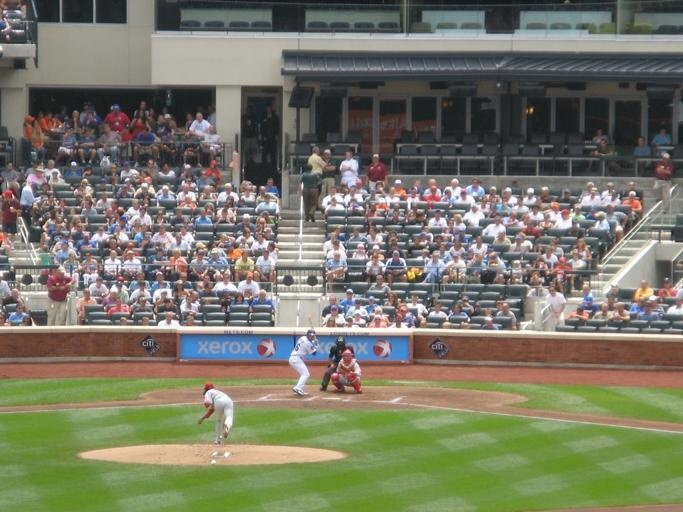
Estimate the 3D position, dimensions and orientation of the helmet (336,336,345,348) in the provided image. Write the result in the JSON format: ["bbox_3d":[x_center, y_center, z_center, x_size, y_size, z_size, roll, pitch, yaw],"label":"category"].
[{"bbox_3d":[-0.046,2.514,55.964,0.210,0.250,0.292,1,-14,-2],"label":"helmet"}]

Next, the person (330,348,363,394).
[{"bbox_3d":[0.121,3.322,56.559,1.140,1.678,1.145,0,0,0],"label":"person"}]

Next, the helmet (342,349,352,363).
[{"bbox_3d":[0.150,2.909,56.135,0.318,0.476,0.331,2,5,0],"label":"helmet"}]

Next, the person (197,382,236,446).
[{"bbox_3d":[-3.381,4.298,52.094,0.651,1.134,2.197,14,12,-26],"label":"person"}]

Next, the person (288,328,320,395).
[{"bbox_3d":[-1.166,3.073,56.262,0.771,1.929,0.792,2,5,-2],"label":"person"}]
